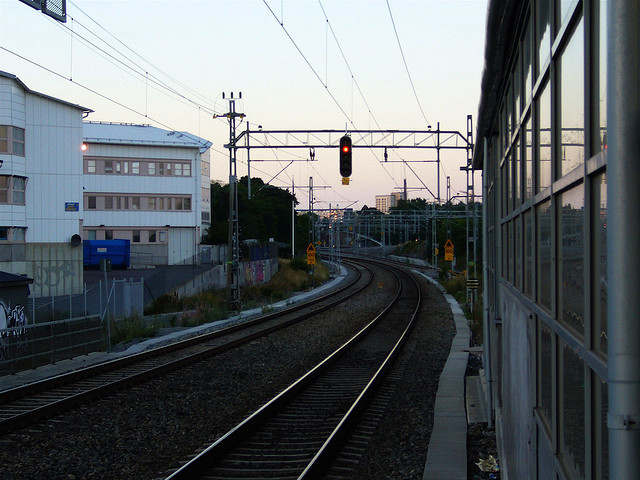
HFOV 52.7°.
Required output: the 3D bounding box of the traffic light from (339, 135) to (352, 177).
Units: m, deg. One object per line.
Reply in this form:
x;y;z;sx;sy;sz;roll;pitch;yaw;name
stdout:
0.948;-2.998;23.618;0.391;1.780;0.387;-4;-25;12;traffic light
